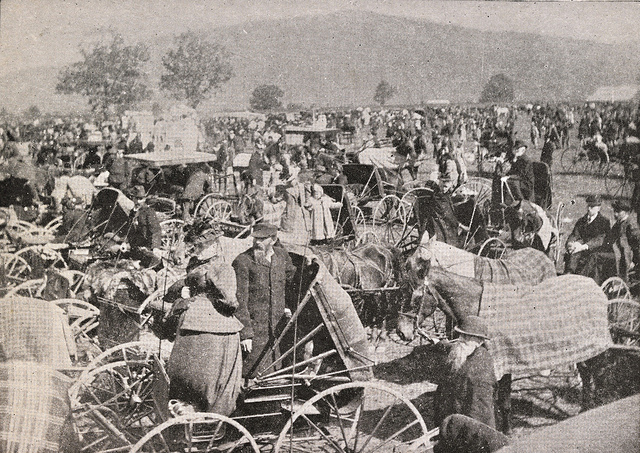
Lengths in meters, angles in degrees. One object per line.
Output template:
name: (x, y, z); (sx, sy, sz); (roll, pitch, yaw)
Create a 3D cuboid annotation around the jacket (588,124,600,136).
jacket: (3.772, -1.339, 10.543); (0.142, 0.152, 0.035); (0, -8, -7)

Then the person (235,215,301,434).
person: (-0.619, 1.201, 9.166); (0.786, 2.424, 0.816); (-1, 4, -3)

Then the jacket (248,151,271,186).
jacket: (-0.921, -0.830, 11.003); (0.264, 0.492, 0.319); (3, 6, 45)

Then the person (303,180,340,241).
person: (-0.004, -0.208, 11.118); (0.738, 0.958, 0.279); (-6, 2, -39)

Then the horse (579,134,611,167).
horse: (3.784, -1.054, 10.525); (0.465, 0.423, 0.139); (-3, 5, -27)

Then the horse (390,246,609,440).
horse: (2.380, 1.367, 10.258); (3.289, 2.404, 0.765); (-3, 28, -24)

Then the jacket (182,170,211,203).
jacket: (-1.825, -0.591, 11.181); (0.336, 0.452, 0.177); (30, 12, -20)

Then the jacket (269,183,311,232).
jacket: (-0.408, -0.259, 10.875); (0.394, 0.280, 0.828); (-15, 41, 11)

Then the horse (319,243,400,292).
horse: (0.458, 0.609, 10.348); (1.237, 0.792, 0.593); (-5, 12, -36)

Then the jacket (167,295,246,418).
jacket: (-1.343, 1.451, 8.941); (0.815, 1.513, 0.963); (-6, 17, -43)

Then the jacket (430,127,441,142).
jacket: (1.592, -1.282, 10.617); (0.118, 0.181, 0.052); (3, 4, 10)

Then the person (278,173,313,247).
person: (-0.421, -0.220, 10.897); (0.536, 1.237, 0.383); (-5, -31, 0)

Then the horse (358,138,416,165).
horse: (0.996, -1.035, 11.116); (0.578, 0.357, 0.400); (-8, 13, 2)

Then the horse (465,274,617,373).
horse: (2.516, 1.155, 9.816); (2.307, 1.007, 1.431); (-2, 12, -15)

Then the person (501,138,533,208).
person: (2.669, -0.736, 10.359); (0.412, 0.910, 0.133); (0, 4, 8)
